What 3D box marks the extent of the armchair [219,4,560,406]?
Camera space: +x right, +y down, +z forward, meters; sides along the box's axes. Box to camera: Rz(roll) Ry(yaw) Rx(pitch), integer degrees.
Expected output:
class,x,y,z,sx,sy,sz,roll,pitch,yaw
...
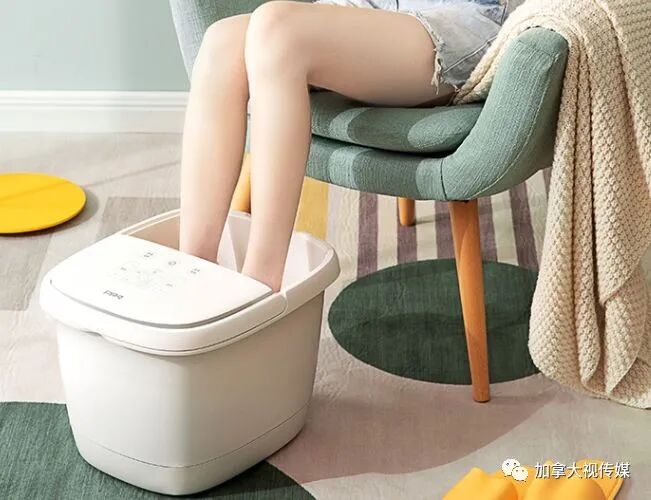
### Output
class,x,y,z,sx,sy,sz,roll,pitch,yaw
armchair,0.197,-0.147,1.278,0.610,0.558,0.525,16,28,32

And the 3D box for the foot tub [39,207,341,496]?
class,x,y,z,sx,sy,sz,roll,pitch,yaw
foot tub,-0.179,0.154,1.064,0.371,0.298,0.442,18,31,30
